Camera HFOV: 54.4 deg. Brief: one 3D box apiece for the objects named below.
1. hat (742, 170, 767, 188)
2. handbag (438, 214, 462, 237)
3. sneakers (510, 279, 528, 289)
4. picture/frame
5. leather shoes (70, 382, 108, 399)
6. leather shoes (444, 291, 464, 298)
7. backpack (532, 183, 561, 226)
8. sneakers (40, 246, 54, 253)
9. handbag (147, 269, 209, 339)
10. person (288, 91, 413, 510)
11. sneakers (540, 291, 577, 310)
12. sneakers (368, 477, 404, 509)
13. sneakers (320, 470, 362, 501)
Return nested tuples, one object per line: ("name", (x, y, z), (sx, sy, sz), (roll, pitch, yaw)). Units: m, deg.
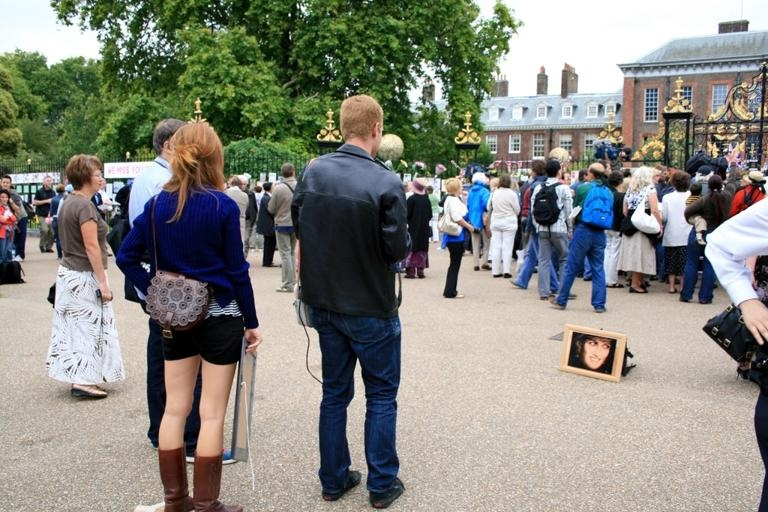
("hat", (5.776, -1.223, 11.650), (0.286, 0.126, 0.324), (11, 4, 31))
("handbag", (1.128, -0.547, 13.245), (0.361, 0.376, 0.532), (-6, 12, -33))
("sneakers", (2.571, 0.516, 14.316), (0.219, 0.141, 0.654), (-2, 10, -10))
("picture/frame", (2.476, 1.190, 8.963), (0.566, 0.491, 0.204), (5, -8, 26))
("leather shoes", (-3.245, 1.479, 8.289), (0.445, 0.191, 0.167), (2, 3, -9))
("leather shoes", (1.270, 0.674, 13.216), (0.378, 0.081, 0.251), (-6, 11, -29))
("backpack", (2.727, -0.863, 12.541), (0.443, 0.741, 0.326), (2, 10, 12))
("sneakers", (-9.177, -0.206, 20.434), (0.498, 0.217, 0.171), (4, 6, 33))
("handbag", (-1.661, 0.359, 5.973), (0.460, 0.468, 0.157), (5, -5, 12))
("person", (-0.268, 0.369, 6.455), (0.963, 3.480, 0.764), (0, 9, 2))
("sneakers", (2.820, 0.743, 12.501), (0.239, 0.284, 0.660), (0, 5, -22))
("sneakers", (0.026, 2.057, 6.464), (0.143, 0.150, 0.345), (10, 19, 31))
("sneakers", (-0.369, 2.010, 6.586), (0.139, 0.174, 0.416), (11, 18, 29))
